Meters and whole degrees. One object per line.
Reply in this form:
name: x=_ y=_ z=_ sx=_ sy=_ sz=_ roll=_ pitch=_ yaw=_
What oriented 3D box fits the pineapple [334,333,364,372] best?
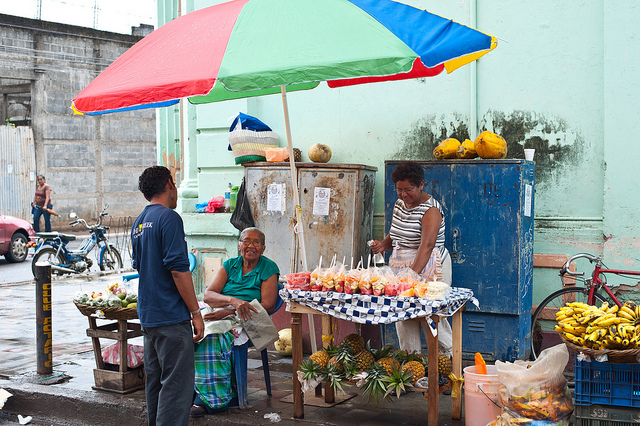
pineapple: x=0.369 y=1.546 z=7.934 sx=0.245 sy=0.271 sz=0.531 roll=-18 pitch=-9 yaw=16

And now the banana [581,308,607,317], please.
banana: x=2.715 y=0.981 z=6.757 sx=0.165 sy=0.048 sz=0.039 roll=-9 pitch=-37 yaw=3

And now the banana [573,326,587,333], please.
banana: x=2.569 y=1.145 z=6.763 sx=0.115 sy=0.054 sz=0.030 roll=1 pitch=3 yaw=22

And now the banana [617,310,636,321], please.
banana: x=2.973 y=0.989 z=6.671 sx=0.190 sy=0.087 sz=0.065 roll=17 pitch=-11 yaw=2

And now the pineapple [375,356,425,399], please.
pineapple: x=0.894 y=1.770 z=7.412 sx=0.546 sy=0.339 sz=0.261 roll=-1 pitch=3 yaw=-35

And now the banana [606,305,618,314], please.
banana: x=2.902 y=0.950 z=6.767 sx=0.168 sy=0.046 sz=0.051 roll=-26 pitch=-10 yaw=-35

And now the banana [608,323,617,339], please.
banana: x=2.828 y=1.134 z=6.607 sx=0.037 sy=0.130 sz=0.039 roll=-18 pitch=-41 yaw=30

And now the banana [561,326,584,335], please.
banana: x=2.502 y=1.141 z=6.777 sx=0.180 sy=0.069 sz=0.050 roll=31 pitch=38 yaw=24

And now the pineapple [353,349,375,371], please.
pineapple: x=0.492 y=1.637 z=7.622 sx=0.175 sy=0.212 sz=0.177 roll=-12 pitch=-13 yaw=38

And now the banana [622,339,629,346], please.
banana: x=2.924 y=1.234 z=6.549 sx=0.042 sy=0.048 sz=0.058 roll=-4 pitch=8 yaw=22

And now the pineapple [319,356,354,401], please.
pineapple: x=0.133 y=1.762 z=7.565 sx=0.351 sy=0.174 sz=0.449 roll=2 pitch=4 yaw=28

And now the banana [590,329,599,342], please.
banana: x=2.661 y=1.183 z=6.638 sx=0.037 sy=0.121 sz=0.035 roll=34 pitch=-15 yaw=5

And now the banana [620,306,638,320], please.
banana: x=3.026 y=0.962 z=6.704 sx=0.075 sy=0.035 sz=0.126 roll=-23 pitch=47 yaw=-18

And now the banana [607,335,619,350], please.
banana: x=2.821 y=1.235 z=6.595 sx=0.095 sy=0.130 sz=0.024 roll=1 pitch=3 yaw=0

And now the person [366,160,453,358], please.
person: x=1.150 y=0.546 z=7.991 sx=0.779 sy=2.270 sz=1.512 roll=1 pitch=2 yaw=10

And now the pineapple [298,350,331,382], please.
pineapple: x=-0.060 y=1.708 z=7.730 sx=0.247 sy=0.273 sz=0.474 roll=-4 pitch=17 yaw=24

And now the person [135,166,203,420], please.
person: x=-1.588 y=0.823 z=7.166 sx=0.686 sy=2.631 sz=0.556 roll=0 pitch=3 yaw=-16

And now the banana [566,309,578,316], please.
banana: x=2.533 y=1.000 z=6.921 sx=0.067 sy=0.047 sz=0.027 roll=-22 pitch=12 yaw=-4

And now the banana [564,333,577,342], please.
banana: x=2.479 y=1.224 z=6.770 sx=0.080 sy=0.061 sz=0.173 roll=0 pitch=0 yaw=-2

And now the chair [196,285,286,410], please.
chair: x=-0.879 y=1.611 z=8.265 sx=0.809 sy=1.233 sz=1.276 roll=1 pitch=2 yaw=14

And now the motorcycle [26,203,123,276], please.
motorcycle: x=-5.657 y=0.685 z=16.001 sx=1.182 sy=1.795 sz=2.534 roll=-5 pitch=-3 yaw=33

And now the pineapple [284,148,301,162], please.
pineapple: x=-0.421 y=-0.831 z=10.161 sx=0.205 sy=0.248 sz=0.216 roll=-2 pitch=-2 yaw=-2

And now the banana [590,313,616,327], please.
banana: x=2.766 y=1.039 z=6.667 sx=0.159 sy=0.035 sz=0.044 roll=-32 pitch=47 yaw=-1
